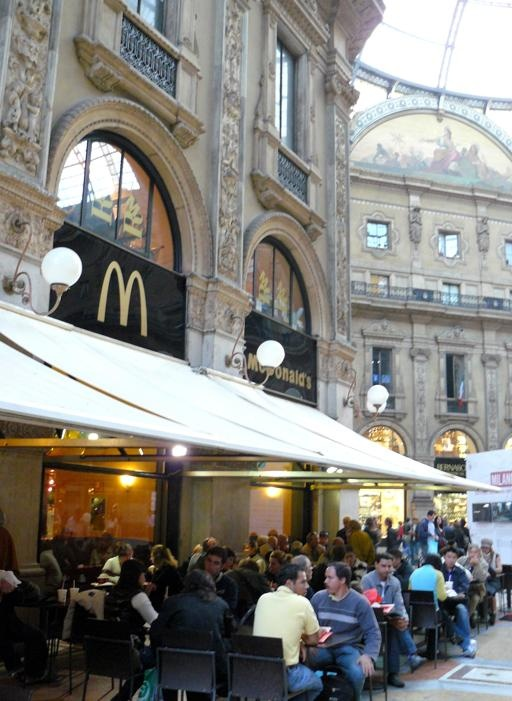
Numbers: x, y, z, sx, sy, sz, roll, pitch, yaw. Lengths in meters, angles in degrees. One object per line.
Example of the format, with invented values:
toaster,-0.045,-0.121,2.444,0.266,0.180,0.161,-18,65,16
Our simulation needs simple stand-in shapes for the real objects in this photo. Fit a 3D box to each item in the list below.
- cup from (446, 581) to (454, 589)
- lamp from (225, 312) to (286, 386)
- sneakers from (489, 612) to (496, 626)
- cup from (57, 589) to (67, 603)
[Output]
cup,2.503,3.054,10.039,0.114,0.120,0.117,1,-5,0
lamp,-0.065,0.122,10.909,0.677,0.740,0.298,-12,-17,18
sneakers,3.709,4.225,12.150,0.087,0.219,0.226,-6,-58,11
cup,-1.937,2.470,7.764,0.125,0.139,0.130,0,-13,0
